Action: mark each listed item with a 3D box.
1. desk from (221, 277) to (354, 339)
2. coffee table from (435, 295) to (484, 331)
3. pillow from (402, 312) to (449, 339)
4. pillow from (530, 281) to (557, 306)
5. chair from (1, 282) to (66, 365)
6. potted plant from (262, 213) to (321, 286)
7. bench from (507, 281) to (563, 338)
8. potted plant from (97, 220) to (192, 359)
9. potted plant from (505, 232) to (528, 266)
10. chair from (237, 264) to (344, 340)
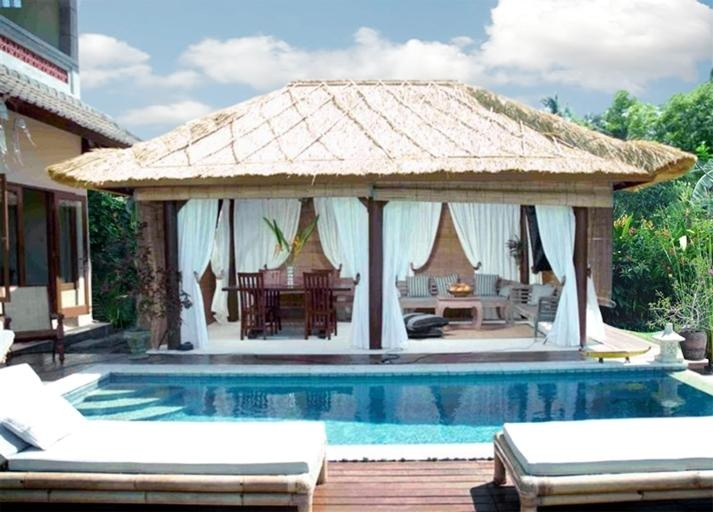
[{"bbox_3d":[-1.296,1.099,13.994,2.200,1.327,1.563,0,1,-1],"label":"desk"},{"bbox_3d":[2.115,1.132,14.498,0.691,0.500,0.771,0,-4,3],"label":"coffee table"},{"bbox_3d":[1.338,1.374,14.050,0.832,0.446,0.510,-2,1,-6],"label":"pillow"},{"bbox_3d":[3.690,0.766,14.320,0.439,0.471,0.180,-8,-29,45],"label":"pillow"},{"bbox_3d":[-5.940,1.248,13.210,0.934,1.160,2.226,-2,0,-26],"label":"chair"},{"bbox_3d":[-1.456,-0.184,15.756,0.949,1.717,0.506,1,2,-3],"label":"potted plant"},{"bbox_3d":[3.522,0.972,14.105,0.778,1.188,0.899,2,3,-8],"label":"bench"},{"bbox_3d":[-4.226,0.442,14.467,2.242,3.327,1.279,-1,1,7],"label":"potted plant"},{"bbox_3d":[3.607,-0.103,16.305,0.636,0.747,0.516,7,-9,-39],"label":"potted plant"},{"bbox_3d":[-1.346,0.933,14.276,1.822,1.068,1.371,0,-2,-1],"label":"chair"}]
